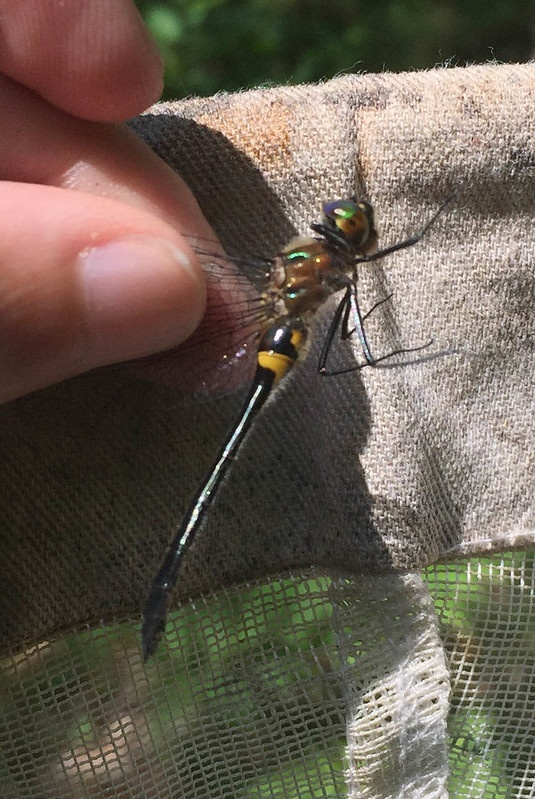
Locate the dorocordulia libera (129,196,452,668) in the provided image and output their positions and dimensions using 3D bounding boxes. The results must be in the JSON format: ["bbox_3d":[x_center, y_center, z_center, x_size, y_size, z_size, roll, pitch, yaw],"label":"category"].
[{"bbox_3d":[0.008,0.036,0.836,0.236,0.129,0.396,25,90,29],"label":"dorocordulia libera"}]
